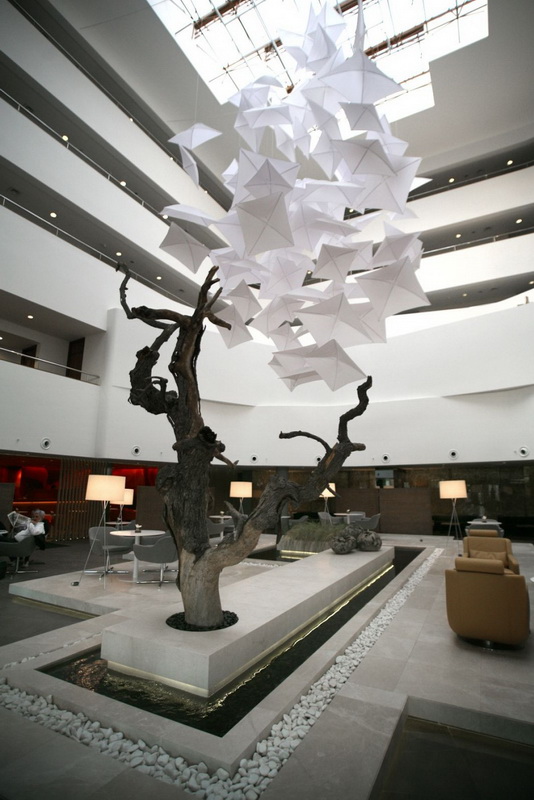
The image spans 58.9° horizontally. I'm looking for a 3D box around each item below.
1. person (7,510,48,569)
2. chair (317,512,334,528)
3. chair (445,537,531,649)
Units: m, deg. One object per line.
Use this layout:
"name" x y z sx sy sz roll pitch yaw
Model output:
"person" -4.077 2.288 7.943 0.812 0.683 0.948 9 -10 -17
"chair" 1.665 3.432 13.518 0.361 0.329 0.329 3 -7 5
"chair" 1.981 1.864 4.623 0.628 0.817 1.224 -3 -13 21
